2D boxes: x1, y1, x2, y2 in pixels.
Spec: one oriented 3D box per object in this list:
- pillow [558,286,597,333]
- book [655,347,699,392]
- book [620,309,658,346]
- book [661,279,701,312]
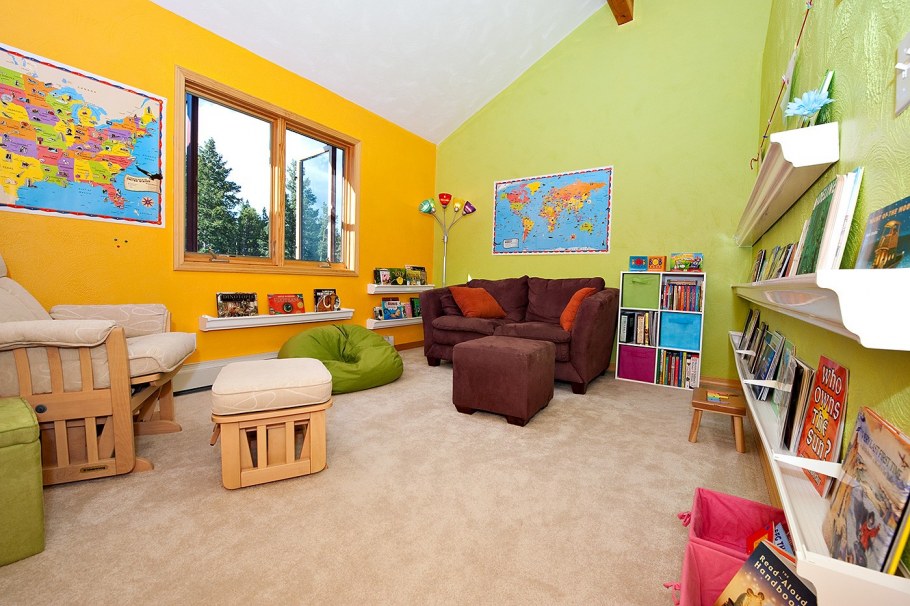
[{"bbox_3d":[1.115,0.053,4.920,0.286,0.343,0.588,4,10,15],"label":"pillow"},{"bbox_3d":[2.020,0.592,5.020,0.431,0.423,0.301,-2,-8,34],"label":"book"},{"bbox_3d":[1.787,0.240,5.199,0.288,0.386,0.402,0,-4,32],"label":"book"},{"bbox_3d":[2.064,-0.072,4.937,0.351,0.283,0.179,5,11,21],"label":"book"}]
